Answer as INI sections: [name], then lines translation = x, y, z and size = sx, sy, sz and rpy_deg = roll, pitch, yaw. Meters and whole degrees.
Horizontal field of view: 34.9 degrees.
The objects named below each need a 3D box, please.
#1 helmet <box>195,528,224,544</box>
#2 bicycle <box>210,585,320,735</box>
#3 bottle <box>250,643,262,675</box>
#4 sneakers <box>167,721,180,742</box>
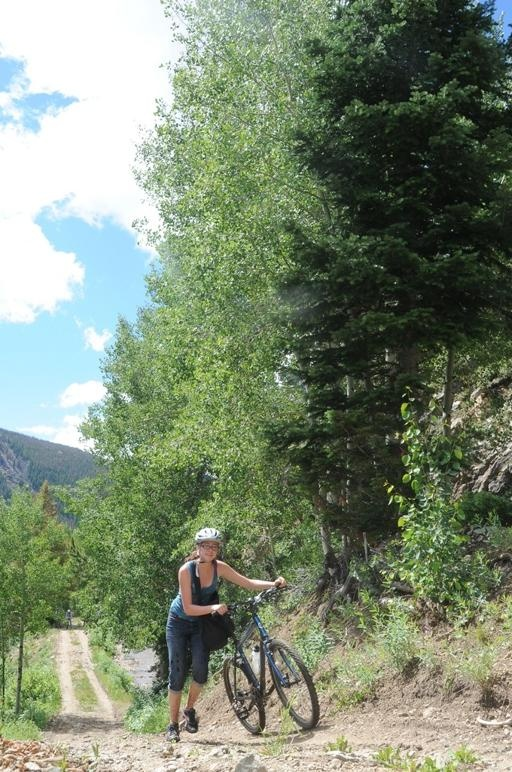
[helmet]
translation = -0.512, 1.564, 8.483
size = 0.249, 0.165, 0.273
rpy_deg = -4, -12, -6
[bicycle]
translation = 0.274, 3.181, 8.927
size = 0.870, 1.156, 1.921
rpy_deg = 2, -33, -28
[bottle]
translation = -0.003, 2.872, 8.545
size = 0.101, 0.338, 0.270
rpy_deg = -5, -11, -2
[sneakers]
translation = -0.870, 3.602, 8.452
size = 0.118, 0.146, 0.205
rpy_deg = -3, -12, -12
